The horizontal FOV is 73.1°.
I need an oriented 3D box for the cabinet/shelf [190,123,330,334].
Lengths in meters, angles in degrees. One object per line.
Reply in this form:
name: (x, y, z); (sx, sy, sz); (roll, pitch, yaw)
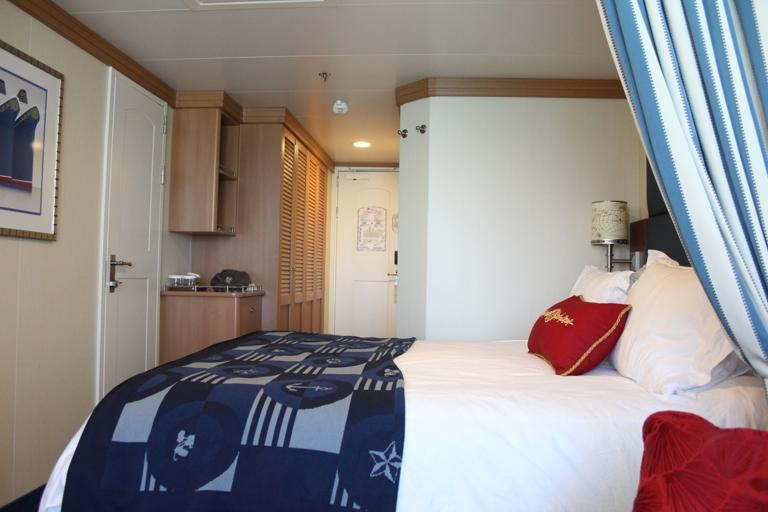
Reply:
cabinet/shelf: (-1.220, -0.285, 4.922); (0.699, 2.059, 2.187); (1, -2, -1)

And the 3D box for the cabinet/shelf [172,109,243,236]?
cabinet/shelf: (-1.613, -0.744, 4.667); (0.417, 1.094, 0.575); (1, 5, 6)

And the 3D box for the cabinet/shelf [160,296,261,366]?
cabinet/shelf: (-1.527, 0.612, 4.607); (0.635, 0.640, 0.636); (1, -5, -1)

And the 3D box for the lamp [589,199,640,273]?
lamp: (1.682, -0.023, 3.813); (0.267, 0.741, 0.232); (1, 7, 18)
